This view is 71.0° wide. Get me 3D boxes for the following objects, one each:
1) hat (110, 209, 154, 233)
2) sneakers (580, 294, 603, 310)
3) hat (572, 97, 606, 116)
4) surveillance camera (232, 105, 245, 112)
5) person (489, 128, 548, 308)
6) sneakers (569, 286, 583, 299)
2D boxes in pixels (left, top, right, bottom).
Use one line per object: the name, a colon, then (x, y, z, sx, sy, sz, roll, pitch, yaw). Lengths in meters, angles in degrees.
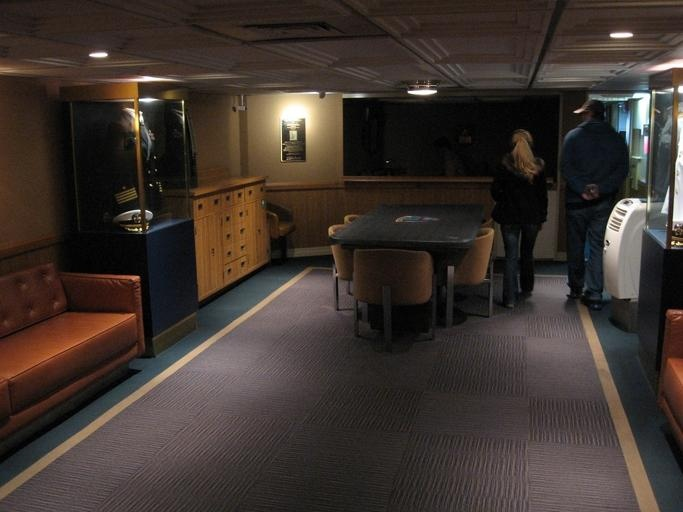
hat: (-2.113, -0.362, 4.859, 0.298, 0.126, 0.272, 0, 4, 7)
sneakers: (3.093, 0.572, 5.900, 0.124, 0.122, 0.306, 0, 4, 15)
hat: (3.049, -1.885, 6.143, 0.522, 0.214, 0.333, 7, 8, 17)
surveillance camera: (-1.699, -2.424, 7.908, 0.151, 0.030, 0.136, -7, 10, -44)
person: (2.241, -0.496, 6.119, 0.864, 2.148, 0.536, -14, 20, -35)
sneakers: (3.069, 0.481, 6.288, 0.086, 0.155, 0.240, -3, 3, 10)
